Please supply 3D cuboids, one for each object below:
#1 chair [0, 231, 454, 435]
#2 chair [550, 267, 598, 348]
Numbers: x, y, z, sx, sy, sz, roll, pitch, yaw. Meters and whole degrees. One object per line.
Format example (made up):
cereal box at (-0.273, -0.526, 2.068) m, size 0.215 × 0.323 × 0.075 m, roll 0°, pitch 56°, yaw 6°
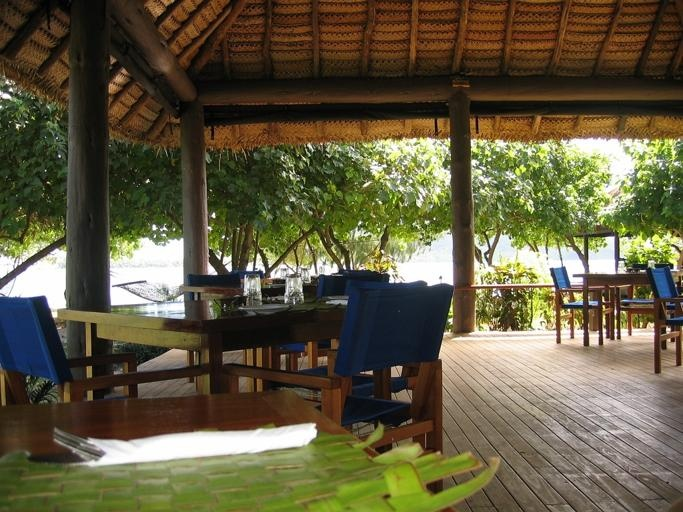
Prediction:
chair at (-0.289, 0.325, 2.062) m, size 1.195 × 0.655 × 0.795 m, roll 1°, pitch -1°, yaw 30°
chair at (2.818, 0.563, 6.363) m, size 0.576 × 0.834 × 0.571 m, roll -2°, pitch 0°, yaw 30°
